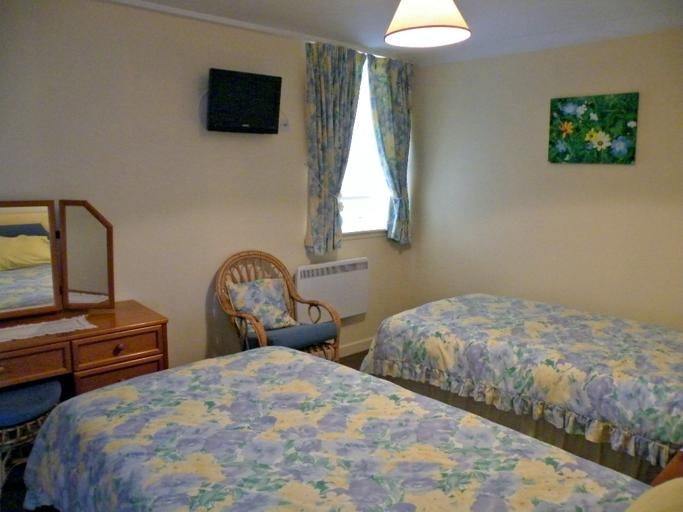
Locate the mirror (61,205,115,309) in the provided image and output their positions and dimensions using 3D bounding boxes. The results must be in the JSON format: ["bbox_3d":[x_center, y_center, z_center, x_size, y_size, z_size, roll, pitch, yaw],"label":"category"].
[{"bbox_3d":[-1.859,-0.008,3.756,0.338,0.822,0.023,1,25,-22],"label":"mirror"}]

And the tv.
[{"bbox_3d":[-0.821,-1.302,4.375,0.618,0.492,0.081,-4,33,-23],"label":"tv"}]

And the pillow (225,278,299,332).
[{"bbox_3d":[-0.683,0.400,4.456,0.479,0.468,0.146,-1,-28,-43],"label":"pillow"}]

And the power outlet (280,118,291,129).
[{"bbox_3d":[-0.509,-1.232,4.786,0.083,0.090,0.016,-2,11,-38],"label":"power outlet"}]

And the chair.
[{"bbox_3d":[-0.571,0.447,4.697,0.849,1.243,1.036,-9,13,-40],"label":"chair"}]
